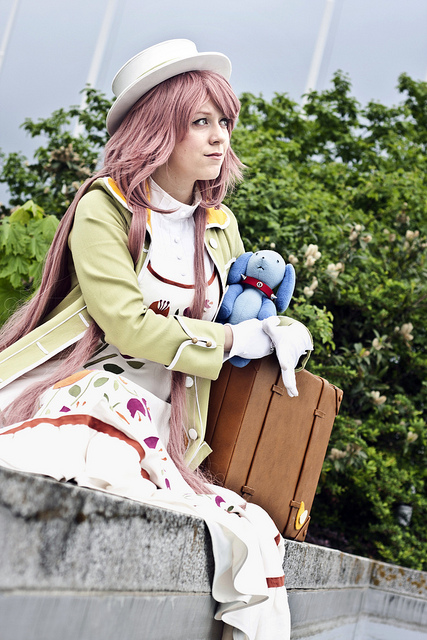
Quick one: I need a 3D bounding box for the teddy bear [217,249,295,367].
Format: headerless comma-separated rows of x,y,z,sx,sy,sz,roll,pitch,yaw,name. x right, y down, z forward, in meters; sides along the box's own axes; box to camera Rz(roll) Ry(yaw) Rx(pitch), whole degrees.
0.129,-0.082,2.136,0.213,0.280,0.135,24,-9,10,teddy bear

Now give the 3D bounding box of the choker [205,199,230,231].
0.015,-0.335,2.232,0.094,0.081,0.027,4,-14,-34,choker

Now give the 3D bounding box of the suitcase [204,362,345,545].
0.193,0.390,2.178,0.322,0.430,0.297,26,-12,-6,suitcase
